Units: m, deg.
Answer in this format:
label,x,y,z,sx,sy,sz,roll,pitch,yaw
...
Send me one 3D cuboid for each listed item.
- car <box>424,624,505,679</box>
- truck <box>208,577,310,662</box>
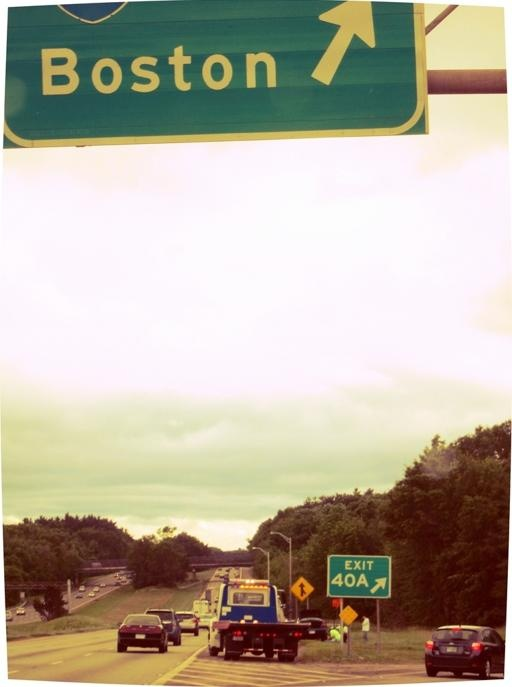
label,x,y,z,sx,sy,sz,roll,pitch,yaw
car,4.804,6.775,20.914,1.091,0.775,1.935,-3,-7,22
truck,-0.138,7.441,25.717,1.671,1.436,3.059,1,-5,-4
